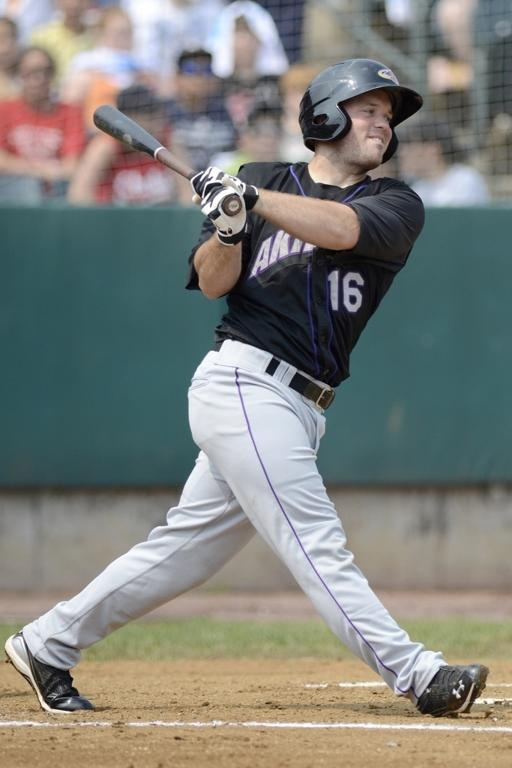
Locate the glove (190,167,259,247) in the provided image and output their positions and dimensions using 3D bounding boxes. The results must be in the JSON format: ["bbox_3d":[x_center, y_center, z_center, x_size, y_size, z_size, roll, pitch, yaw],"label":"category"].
[{"bbox_3d":[-0.086,-0.453,2.598,0.148,0.093,0.205,5,36,-32],"label":"glove"}]

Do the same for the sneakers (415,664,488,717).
[{"bbox_3d":[0.477,0.764,2.580,0.199,0.088,0.095,-17,-30,35],"label":"sneakers"}]

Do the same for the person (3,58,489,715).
[{"bbox_3d":[-0.017,-0.005,2.789,1.115,1.749,0.608,-5,7,9],"label":"person"}]

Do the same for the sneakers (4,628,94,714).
[{"bbox_3d":[-0.547,0.800,2.830,0.129,0.298,0.127,-50,-3,9],"label":"sneakers"}]
